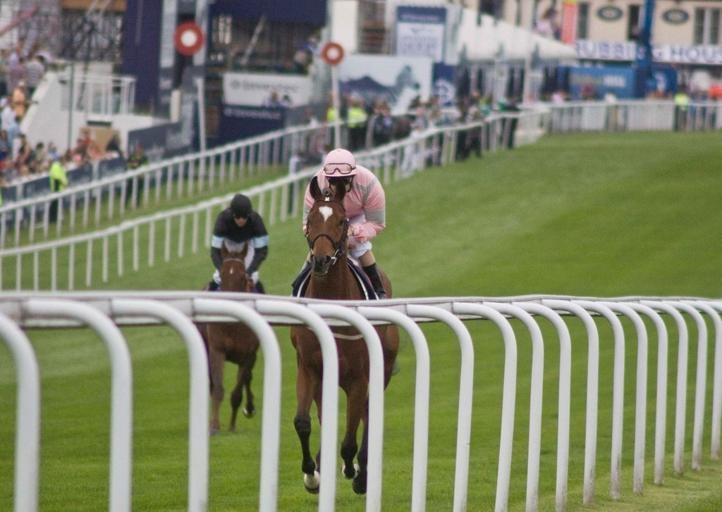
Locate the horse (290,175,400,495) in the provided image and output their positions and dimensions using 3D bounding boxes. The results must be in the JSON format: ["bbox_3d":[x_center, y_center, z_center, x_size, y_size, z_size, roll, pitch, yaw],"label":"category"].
[{"bbox_3d":[-0.296,1.093,28.634,1.318,4.235,1.036,2,7,-2],"label":"horse"}]

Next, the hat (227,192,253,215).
[{"bbox_3d":[-1.694,-0.749,29.755,0.222,0.328,0.237,-1,-36,-9],"label":"hat"}]

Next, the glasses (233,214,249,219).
[{"bbox_3d":[-1.697,-0.561,29.721,0.189,0.043,0.043,1,8,-9],"label":"glasses"}]

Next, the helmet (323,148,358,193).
[{"bbox_3d":[-0.334,-1.146,28.997,0.416,0.567,0.516,0,3,8],"label":"helmet"}]
